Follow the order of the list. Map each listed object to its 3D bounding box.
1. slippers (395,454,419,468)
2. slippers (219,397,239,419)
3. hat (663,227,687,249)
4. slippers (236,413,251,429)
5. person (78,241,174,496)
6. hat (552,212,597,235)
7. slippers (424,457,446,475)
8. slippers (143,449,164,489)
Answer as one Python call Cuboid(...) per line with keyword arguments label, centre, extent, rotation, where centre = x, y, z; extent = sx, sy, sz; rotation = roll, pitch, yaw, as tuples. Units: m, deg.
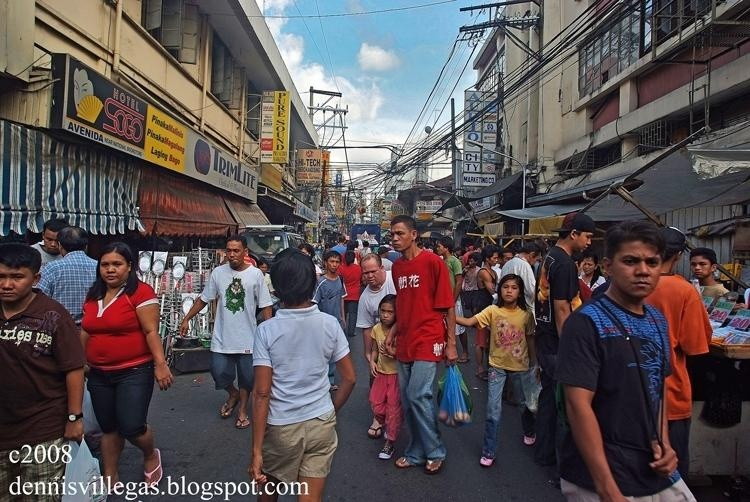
Cuboid(label="slippers", centre=(0.396, 2.534, 7.512), extent=(0.230, 0.094, 0.127), rotation=(5, 0, -4))
Cuboid(label="slippers", centre=(-2.015, 2.163, 8.593), extent=(0.152, 0.104, 0.392), rotation=(-12, 34, 12))
Cuboid(label="hat", centre=(3.135, -0.187, 6.494), extent=(0.229, 0.182, 0.350), rotation=(7, 25, 25))
Cuboid(label="slippers", centre=(-1.756, 2.269, 8.263), extent=(0.164, 0.100, 0.418), rotation=(1, -3, -6))
Cuboid(label="person", centre=(-2.761, 1.285, 6.891), extent=(0.844, 2.715, 0.697), rotation=(-5, 15, -26))
Cuboid(label="hat", centre=(2.380, -0.323, 7.360), extent=(0.357, 0.203, 0.259), rotation=(2, 2, 27))
Cuboid(label="slippers", centre=(0.709, 2.564, 7.407), extent=(0.146, 0.116, 0.379), rotation=(-1, -8, 11))
Cuboid(label="slippers", centre=(-2.529, 2.508, 7.106), extent=(0.160, 0.462, 0.108), rotation=(-1, 2, 2))
